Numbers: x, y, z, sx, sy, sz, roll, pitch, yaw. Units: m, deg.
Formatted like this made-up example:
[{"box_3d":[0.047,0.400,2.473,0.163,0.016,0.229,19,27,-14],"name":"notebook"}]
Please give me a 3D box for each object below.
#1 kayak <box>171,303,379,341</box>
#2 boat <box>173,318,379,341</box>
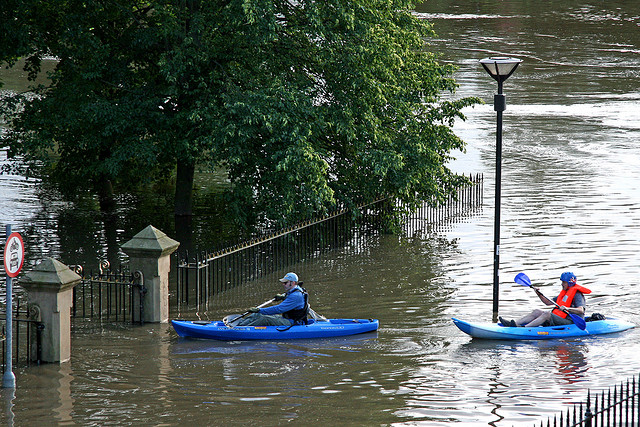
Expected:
[{"box_3d":[-1.459,4.043,56.095,6.862,0.906,0.878,-3,-4,1],"name":"kayak"},{"box_3d":[-1.472,4.127,56.139,6.763,0.933,1.199,-4,-5,3],"name":"boat"}]
